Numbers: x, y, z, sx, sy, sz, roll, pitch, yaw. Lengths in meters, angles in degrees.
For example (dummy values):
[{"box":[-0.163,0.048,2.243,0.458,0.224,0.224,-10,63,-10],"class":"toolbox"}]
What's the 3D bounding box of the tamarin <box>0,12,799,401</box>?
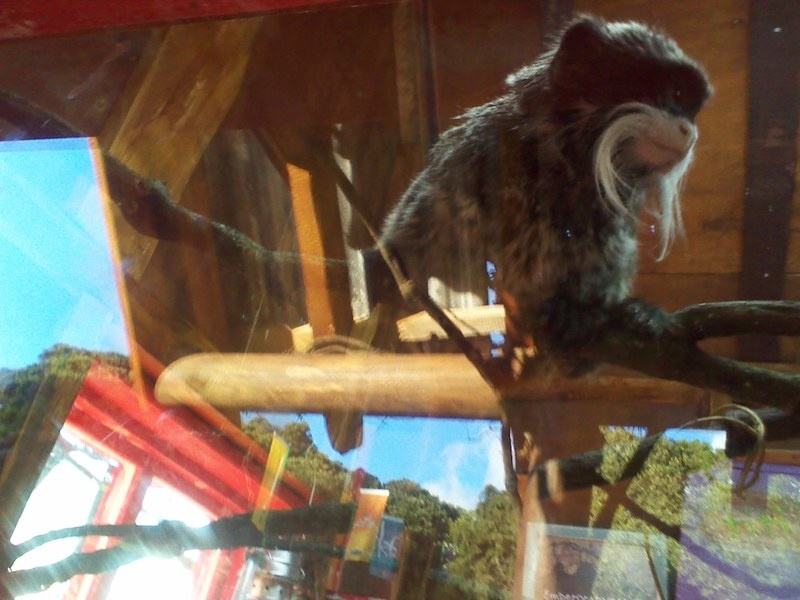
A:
[{"box":[0.313,-0.158,1.452,0.743,0.671,0.211,-3,-14,26],"class":"tamarin"}]
